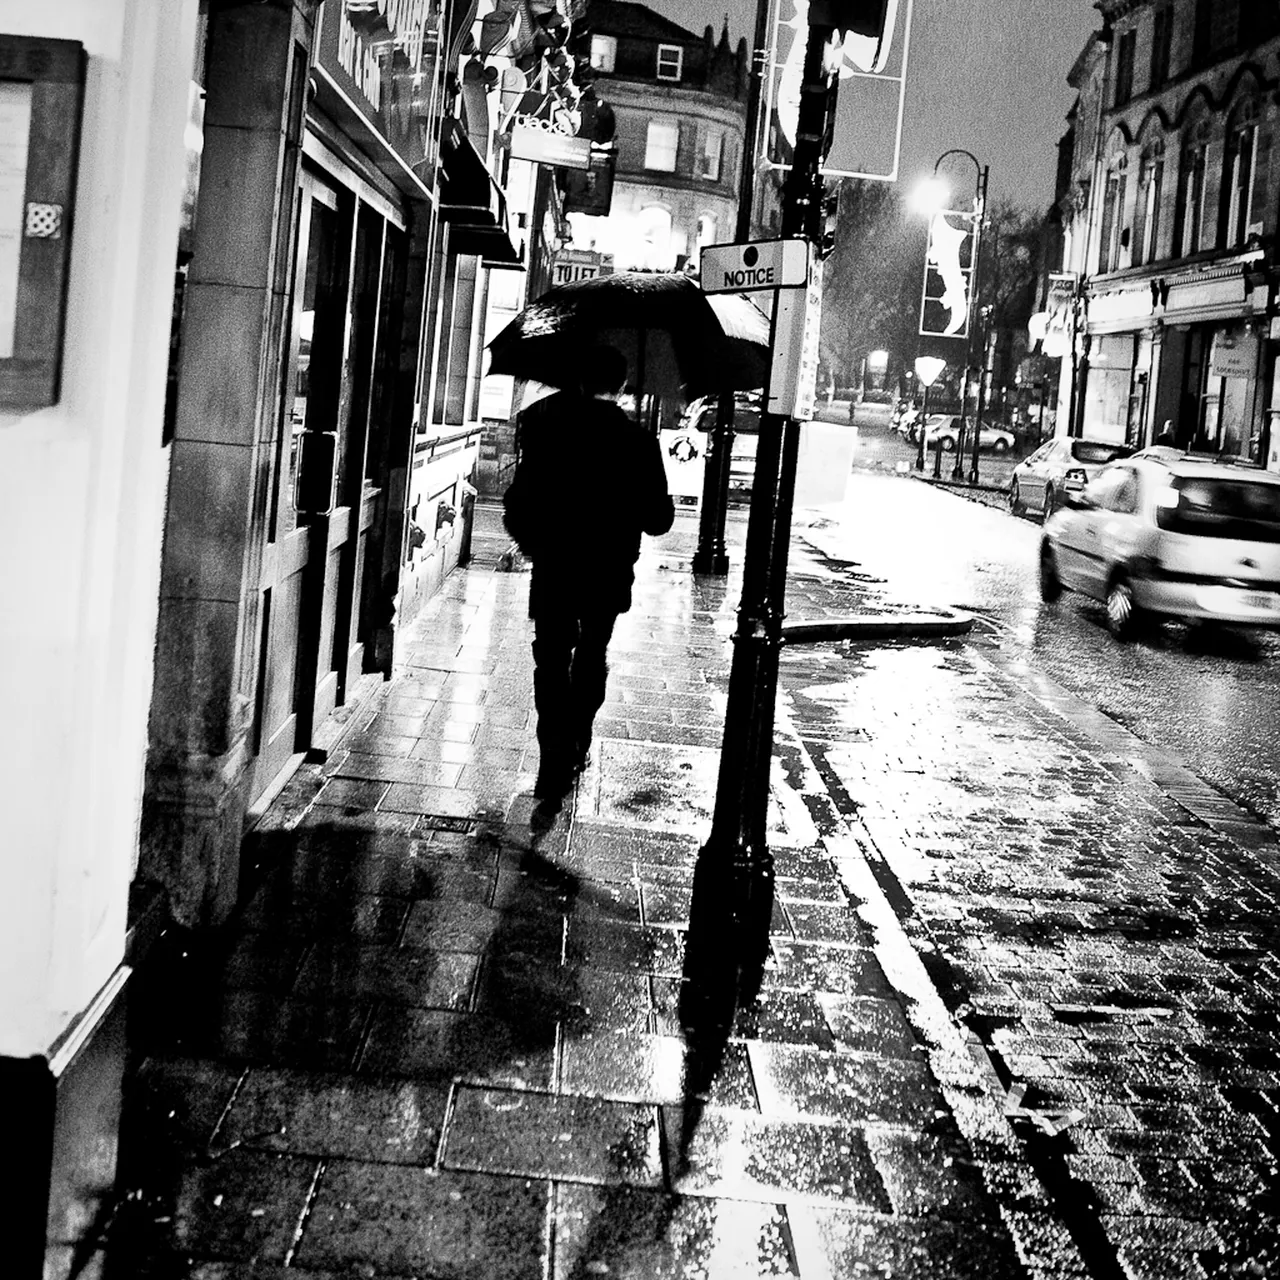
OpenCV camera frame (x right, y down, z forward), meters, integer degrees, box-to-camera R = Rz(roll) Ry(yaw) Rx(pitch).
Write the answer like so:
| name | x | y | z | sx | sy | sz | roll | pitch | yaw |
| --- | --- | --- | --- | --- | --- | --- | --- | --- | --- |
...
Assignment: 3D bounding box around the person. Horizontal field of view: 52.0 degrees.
| name | x | y | z | sx | sy | sz | roll | pitch | yaw |
| --- | --- | --- | --- | --- | --- | --- | --- | --- | --- |
| person | -0.283 | -0.316 | 6.327 | 0.780 | 2.208 | 0.331 | 3 | 5 | -8 |
